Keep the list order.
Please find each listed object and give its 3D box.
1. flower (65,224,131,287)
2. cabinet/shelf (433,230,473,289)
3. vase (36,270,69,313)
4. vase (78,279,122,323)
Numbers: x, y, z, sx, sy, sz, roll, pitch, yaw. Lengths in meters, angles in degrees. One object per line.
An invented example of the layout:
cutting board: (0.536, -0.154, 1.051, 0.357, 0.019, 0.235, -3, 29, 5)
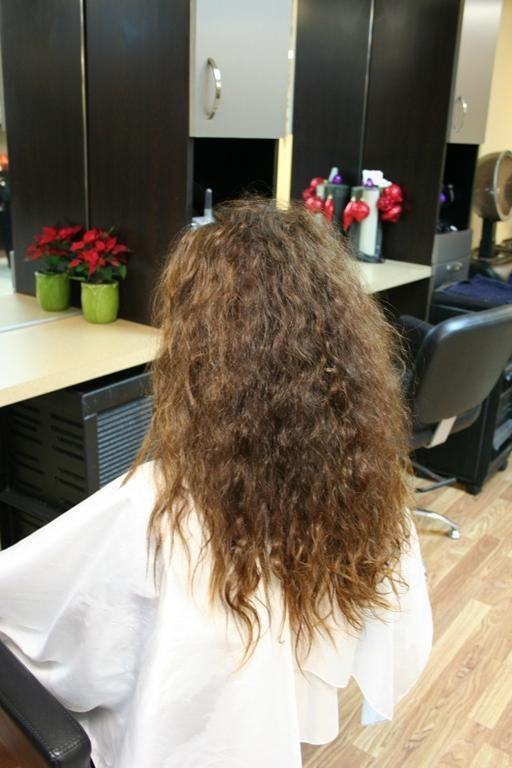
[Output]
flower: (-0.481, -0.405, 1.818, 0.179, 0.152, 0.180, 22, 34, 21)
cabinet/shelf: (0.918, -0.593, 2.751, 0.137, 0.200, 0.253, 20, 36, 35)
vase: (-0.641, -0.294, 1.834, 0.090, 0.128, 0.122, -2, 19, -15)
vase: (-0.476, -0.252, 1.813, 0.110, 0.138, 0.122, 0, 2, 2)
